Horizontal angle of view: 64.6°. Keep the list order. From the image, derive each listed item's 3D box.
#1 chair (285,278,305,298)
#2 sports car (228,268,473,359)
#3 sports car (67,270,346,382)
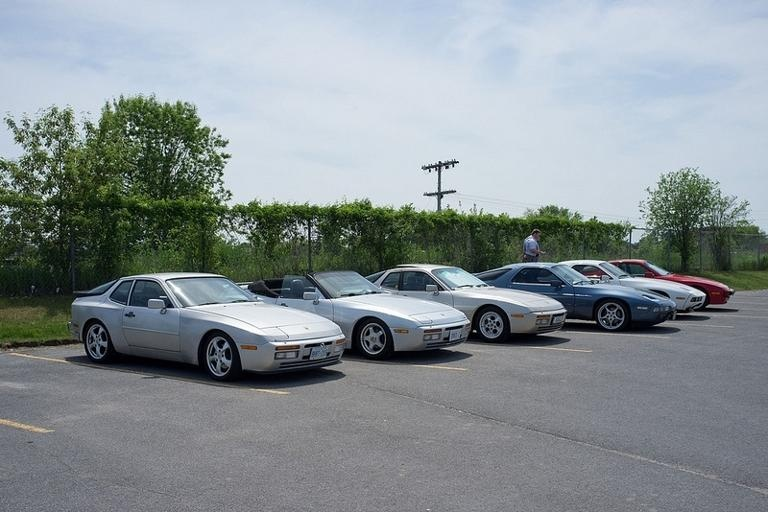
[{"bbox_3d":[-1.829,0.634,12.817,0.319,0.446,0.451,8,-1,12],"label":"chair"},{"bbox_3d":[-0.519,1.102,12.420,4.044,1.349,2.046,1,-1,28],"label":"sports car"},{"bbox_3d":[-3.269,1.207,10.921,5.008,1.687,1.341,3,7,25],"label":"sports car"}]
